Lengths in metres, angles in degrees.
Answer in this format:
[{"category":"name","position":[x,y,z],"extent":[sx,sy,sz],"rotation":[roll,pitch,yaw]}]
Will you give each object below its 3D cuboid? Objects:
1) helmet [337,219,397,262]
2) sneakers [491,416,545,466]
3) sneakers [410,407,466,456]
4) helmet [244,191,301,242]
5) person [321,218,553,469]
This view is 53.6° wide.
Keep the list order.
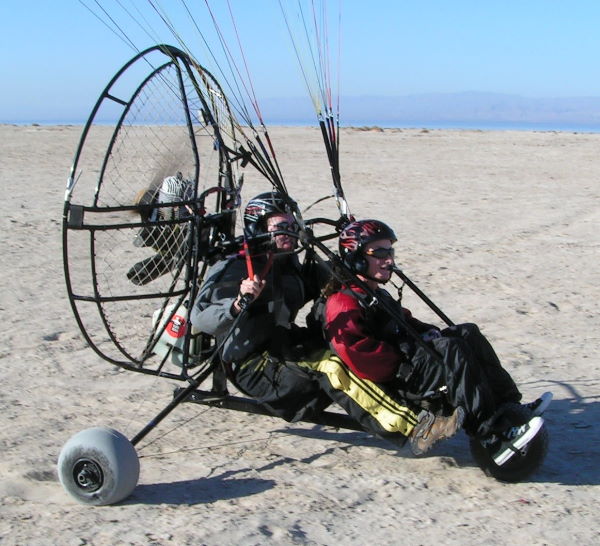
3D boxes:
[{"category":"helmet","position":[0.379,-0.190,3.223],"extent":[0.283,0.188,0.304],"rotation":[-15,10,-32]},{"category":"sneakers","position":[1.038,0.813,2.878],"extent":[0.305,0.074,0.184],"rotation":[-33,27,28]},{"category":"sneakers","position":[0.686,0.816,3.047],"extent":[0.307,0.094,0.229],"rotation":[-30,2,44]},{"category":"helmet","position":[-0.117,-0.314,3.292],"extent":[0.333,0.244,0.259],"rotation":[9,18,40]},{"category":"person","position":[0.732,0.350,3.173],"extent":[1.343,1.088,0.641],"rotation":[6,17,8]}]
